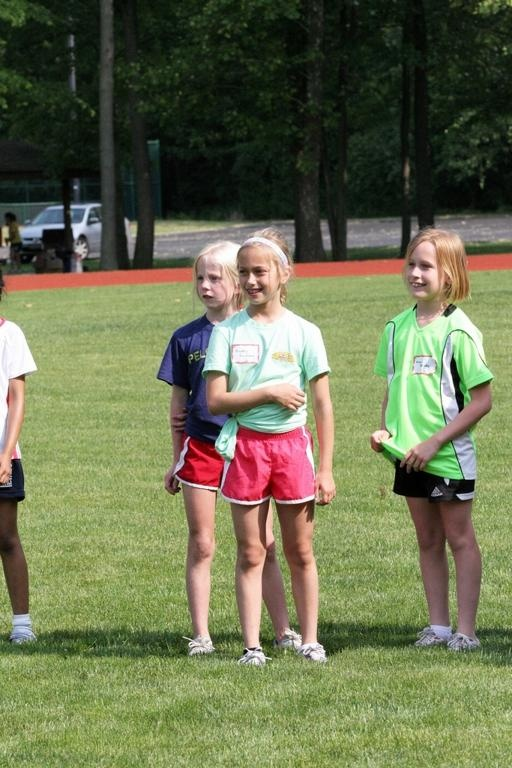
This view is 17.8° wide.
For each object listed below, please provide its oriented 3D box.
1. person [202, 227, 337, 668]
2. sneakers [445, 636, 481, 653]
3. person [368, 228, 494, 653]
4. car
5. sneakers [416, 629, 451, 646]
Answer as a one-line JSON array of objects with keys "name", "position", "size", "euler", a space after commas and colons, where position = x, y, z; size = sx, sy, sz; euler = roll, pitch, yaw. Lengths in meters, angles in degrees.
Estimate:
[{"name": "person", "position": [0.053, 0.381, 6.500], "size": [0.502, 1.492, 0.322], "euler": [-2, 6, -2]}, {"name": "sneakers", "position": [0.825, 1.046, 6.567], "size": [0.129, 0.063, 0.170], "euler": [-1, 7, 7]}, {"name": "person", "position": [0.727, 0.240, 6.720], "size": [0.547, 1.711, 0.397], "euler": [3, 8, 38]}, {"name": "car", "position": [-4.400, -3.383, 35.960], "size": [1.356, 1.255, 2.938], "euler": [1, 2, 22]}, {"name": "sneakers", "position": [0.727, 1.060, 6.774], "size": [0.162, 0.077, 0.060], "euler": [7, -11, -42]}]
